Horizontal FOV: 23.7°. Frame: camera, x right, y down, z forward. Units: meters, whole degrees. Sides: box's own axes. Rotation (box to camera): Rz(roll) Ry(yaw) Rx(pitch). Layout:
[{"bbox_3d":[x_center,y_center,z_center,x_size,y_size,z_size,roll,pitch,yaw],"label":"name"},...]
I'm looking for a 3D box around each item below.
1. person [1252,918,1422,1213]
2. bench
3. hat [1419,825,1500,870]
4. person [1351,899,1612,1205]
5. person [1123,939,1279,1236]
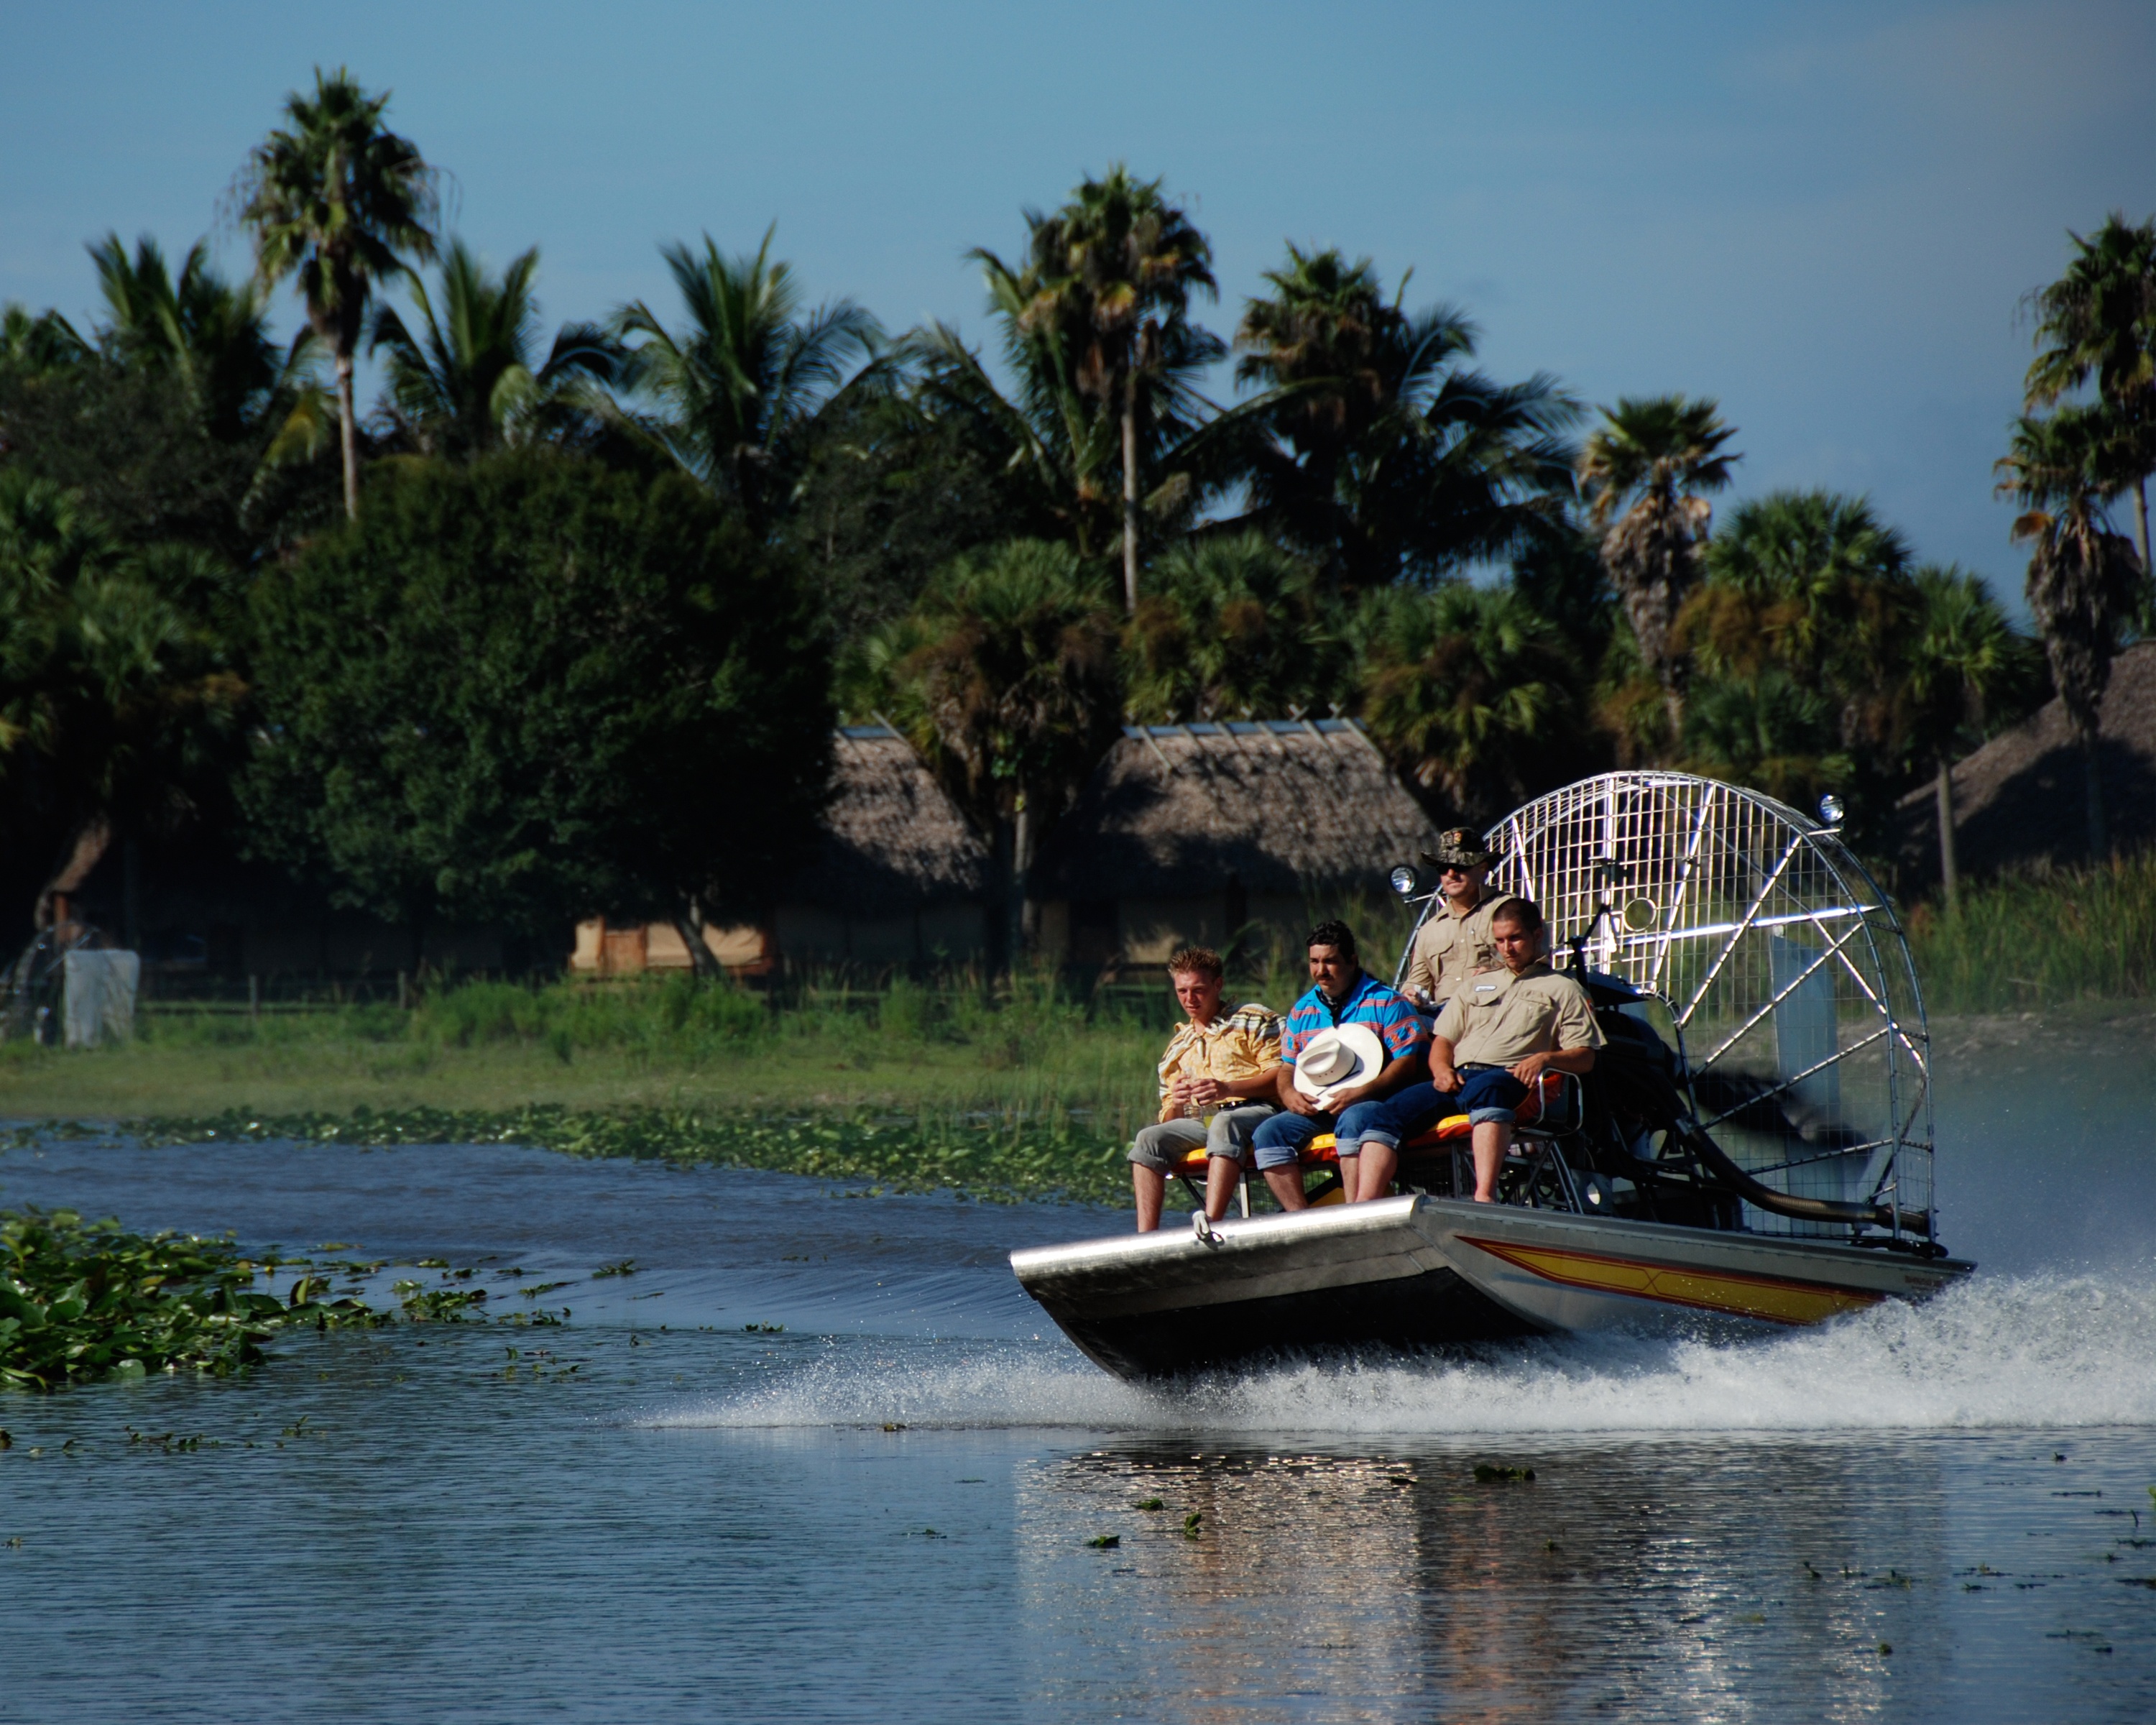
[{"bbox_3d":[1.767,1.632,35.738,0.984,2.391,0.778,-7,-22,29],"label":"person"},{"bbox_3d":[2.352,1.613,35.584,2.616,1.758,1.644,-12,-6,32],"label":"bench"},{"bbox_3d":[2.786,-0.092,37.014,0.519,0.330,0.699,0,-3,5],"label":"hat"},{"bbox_3d":[2.835,1.277,35.389,0.778,2.841,1.115,0,0,44],"label":"person"},{"bbox_3d":[0.873,1.662,35.966,0.831,2.375,1.196,-11,-22,27],"label":"person"}]
